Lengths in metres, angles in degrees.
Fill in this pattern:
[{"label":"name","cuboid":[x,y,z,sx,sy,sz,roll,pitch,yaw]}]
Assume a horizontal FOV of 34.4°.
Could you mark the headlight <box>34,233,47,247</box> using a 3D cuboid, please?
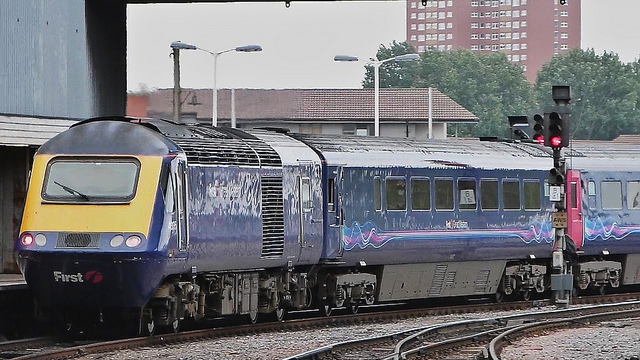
[{"label":"headlight","cuboid":[-7.221,1.507,26.710,0.358,0.291,0.077,5,-3,8]}]
